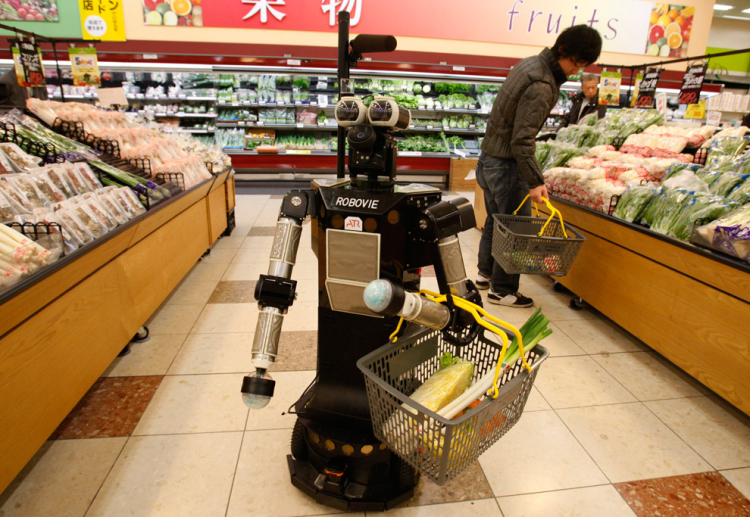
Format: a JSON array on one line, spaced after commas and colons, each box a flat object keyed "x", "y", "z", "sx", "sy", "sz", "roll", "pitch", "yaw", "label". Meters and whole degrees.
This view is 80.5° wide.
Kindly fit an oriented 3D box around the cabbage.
[{"x": 0.263, "y": 0.522, "z": 1.792, "sx": 0.516, "sy": 0.117, "sz": 0.151, "roll": -23, "pitch": 32, "yaw": -38, "label": "cabbage"}]

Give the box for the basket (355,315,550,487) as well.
[{"x": 0.370, "y": 0.502, "z": 1.828, "sx": 0.803, "sy": 0.372, "sz": 0.553, "roll": -23, "pitch": 33, "yaw": -39, "label": "basket"}]

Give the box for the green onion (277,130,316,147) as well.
[{"x": -1.386, "y": -2.088, "z": 7.801, "sx": 0.501, "sy": 0.198, "sz": 0.367, "roll": 3, "pitch": 16, "yaw": 1, "label": "green onion"}]

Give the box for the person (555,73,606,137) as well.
[{"x": 2.740, "y": -2.018, "z": 5.807, "sx": 0.657, "sy": 0.980, "sz": 0.588, "roll": 7, "pitch": 18, "yaw": 14, "label": "person"}]

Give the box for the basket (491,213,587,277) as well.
[{"x": 1.174, "y": -0.135, "z": 3.263, "sx": 0.642, "sy": 0.501, "sz": 0.489, "roll": 1, "pitch": 27, "yaw": -9, "label": "basket"}]

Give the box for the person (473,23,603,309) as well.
[{"x": 1.321, "y": -0.723, "z": 3.743, "sx": 0.897, "sy": 2.183, "sz": 0.879, "roll": 3, "pitch": 21, "yaw": 11, "label": "person"}]
